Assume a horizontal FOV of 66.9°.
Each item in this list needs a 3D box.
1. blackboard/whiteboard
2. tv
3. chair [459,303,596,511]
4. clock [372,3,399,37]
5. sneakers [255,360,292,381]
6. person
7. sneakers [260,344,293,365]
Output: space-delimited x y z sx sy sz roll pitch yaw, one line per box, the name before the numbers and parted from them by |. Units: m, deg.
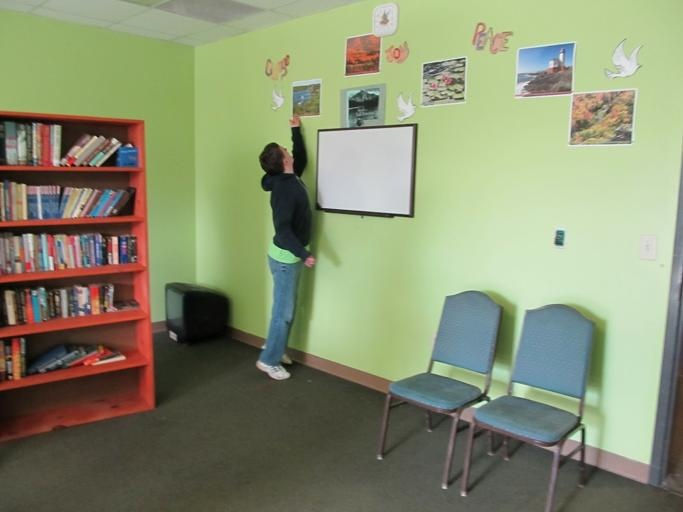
blackboard/whiteboard | 0.242 -0.735 4.364 0.879 0.621 0.060 6 7 34
tv | -1.623 0.612 5.782 0.634 0.661 0.660 0 2 -37
chair | 1.210 0.927 3.309 0.600 1.115 0.759 10 17 29
clock | 0.351 -1.923 4.206 0.248 0.236 0.059 7 8 42
sneakers | -0.633 1.038 4.769 0.309 0.125 0.136 7 6 13
person | -0.533 -0.004 4.704 0.514 2.181 0.800 0 15 -5
sneakers | -0.688 0.953 5.102 0.407 0.167 0.144 6 4 25
